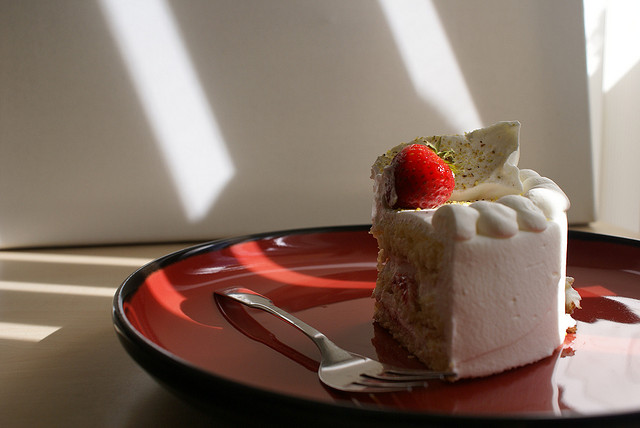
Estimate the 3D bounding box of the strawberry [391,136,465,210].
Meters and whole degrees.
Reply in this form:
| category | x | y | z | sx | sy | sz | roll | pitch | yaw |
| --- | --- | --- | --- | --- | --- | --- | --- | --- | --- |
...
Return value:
| category | x | y | z | sx | sy | sz | roll | pitch | yaw |
| --- | --- | --- | --- | --- | --- | --- | --- | --- | --- |
| strawberry | 0.212 | -0.069 | 0.994 | 0.152 | 0.139 | 0.133 | -45 | -3 | 3 |

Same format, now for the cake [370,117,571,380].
| category | x | y | z | sx | sy | sz | roll | pitch | yaw |
| --- | --- | --- | --- | --- | --- | --- | --- | --- | --- |
| cake | 0.358 | 0.048 | 1.011 | 0.388 | 0.436 | 0.416 | -6 | 13 | -9 |
